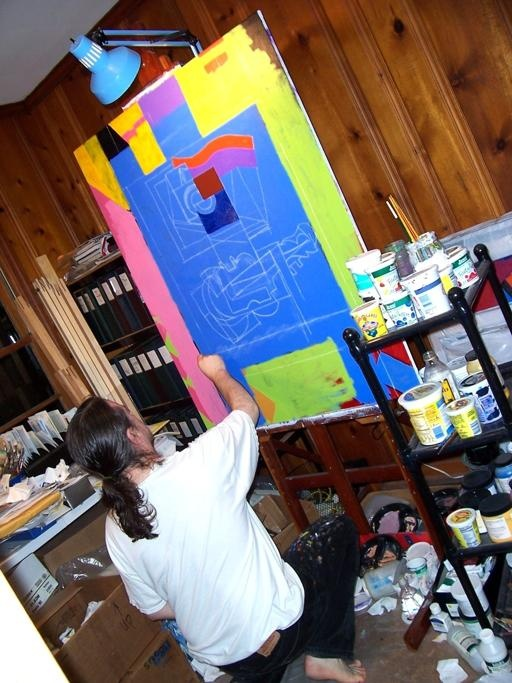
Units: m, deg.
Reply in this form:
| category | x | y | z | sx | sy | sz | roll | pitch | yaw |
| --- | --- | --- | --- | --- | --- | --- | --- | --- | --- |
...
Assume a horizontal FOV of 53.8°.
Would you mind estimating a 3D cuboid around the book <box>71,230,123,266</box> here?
| category | x | y | z | sx | sy | sz | roll | pitch | yaw |
| --- | --- | --- | --- | --- | --- | --- | --- | --- | --- |
| book | -0.925 | -0.516 | 2.867 | 0.281 | 0.100 | 0.197 | -33 | 15 | 24 |

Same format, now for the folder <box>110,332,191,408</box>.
| category | x | y | z | sx | sy | sz | roll | pitch | yaw |
| --- | --- | --- | --- | --- | --- | --- | --- | --- | --- |
| folder | -0.575 | 0.166 | 2.761 | 0.248 | 0.320 | 0.332 | -19 | 16 | 14 |

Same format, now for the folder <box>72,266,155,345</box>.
| category | x | y | z | sx | sy | sz | roll | pitch | yaw |
| --- | --- | --- | --- | --- | --- | --- | --- | --- | --- |
| folder | -0.804 | -0.216 | 2.853 | 0.248 | 0.327 | 0.337 | -28 | 19 | -2 |

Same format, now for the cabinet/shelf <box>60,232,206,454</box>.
| category | x | y | z | sx | sy | sz | roll | pitch | yaw |
| --- | --- | --- | --- | --- | --- | --- | --- | --- | --- |
| cabinet/shelf | -0.577 | -0.010 | 2.421 | 0.335 | 0.997 | 0.953 | -28 | 54 | -14 |
